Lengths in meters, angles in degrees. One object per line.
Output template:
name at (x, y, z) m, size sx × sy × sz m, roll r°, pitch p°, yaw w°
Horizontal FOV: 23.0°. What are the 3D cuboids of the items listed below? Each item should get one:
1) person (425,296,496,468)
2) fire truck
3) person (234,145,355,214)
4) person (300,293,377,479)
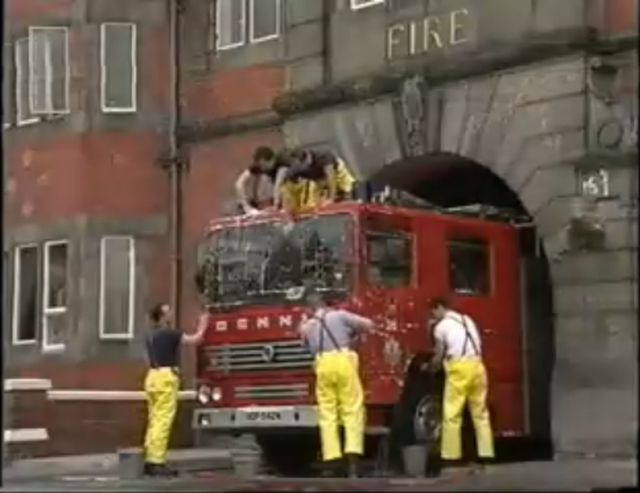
person at (1.760, 1.600, 19.467) m, size 0.729 × 1.963 × 0.419 m, roll -1°, pitch -7°, yaw -3°
fire truck at (0.781, 1.338, 22.104) m, size 3.910 × 3.128 × 6.175 m, roll -8°, pitch -11°, yaw 31°
person at (-0.324, -0.958, 22.032) m, size 1.026 × 0.654 × 1.458 m, roll -1°, pitch 1°, yaw 43°
person at (0.223, 1.558, 19.252) m, size 0.819 × 2.062 × 0.325 m, roll -1°, pitch -7°, yaw 1°
